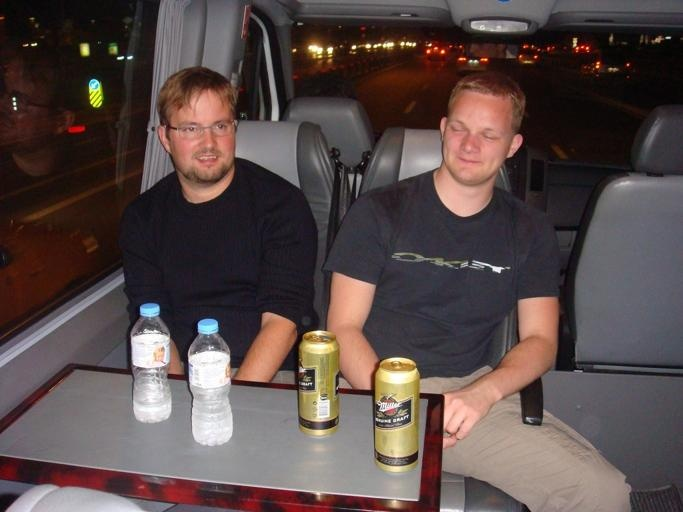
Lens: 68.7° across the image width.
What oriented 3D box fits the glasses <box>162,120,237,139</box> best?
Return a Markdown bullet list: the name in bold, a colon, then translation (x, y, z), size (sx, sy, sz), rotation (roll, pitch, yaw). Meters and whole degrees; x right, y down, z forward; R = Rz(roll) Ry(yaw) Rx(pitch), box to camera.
- **glasses**: translation (-0.672, -0.615, 2.398), size (0.313, 0.084, 0.138), rotation (-5, 23, -17)
